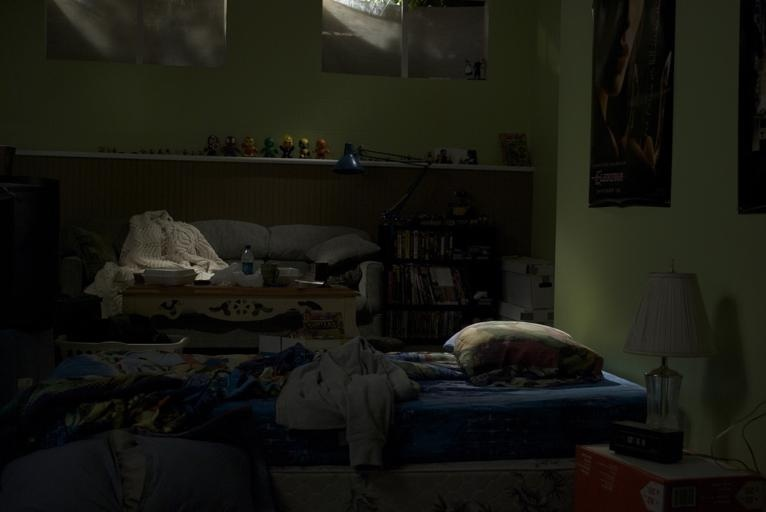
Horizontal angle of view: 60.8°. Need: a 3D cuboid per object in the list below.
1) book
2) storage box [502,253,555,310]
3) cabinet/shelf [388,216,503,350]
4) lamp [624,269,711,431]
[{"bbox_3d":[0.416,0.312,6.518,0.942,1.072,0.244,1,-4,-12],"label":"book"},{"bbox_3d":[1.395,0.267,6.342,0.376,0.440,0.663,0,2,-13],"label":"storage box"},{"bbox_3d":[0.546,0.272,6.259,1.259,1.330,0.428,0,-2,-9],"label":"cabinet/shelf"},{"bbox_3d":[1.318,0.414,2.983,0.338,0.666,0.281,-8,16,-28],"label":"lamp"}]
